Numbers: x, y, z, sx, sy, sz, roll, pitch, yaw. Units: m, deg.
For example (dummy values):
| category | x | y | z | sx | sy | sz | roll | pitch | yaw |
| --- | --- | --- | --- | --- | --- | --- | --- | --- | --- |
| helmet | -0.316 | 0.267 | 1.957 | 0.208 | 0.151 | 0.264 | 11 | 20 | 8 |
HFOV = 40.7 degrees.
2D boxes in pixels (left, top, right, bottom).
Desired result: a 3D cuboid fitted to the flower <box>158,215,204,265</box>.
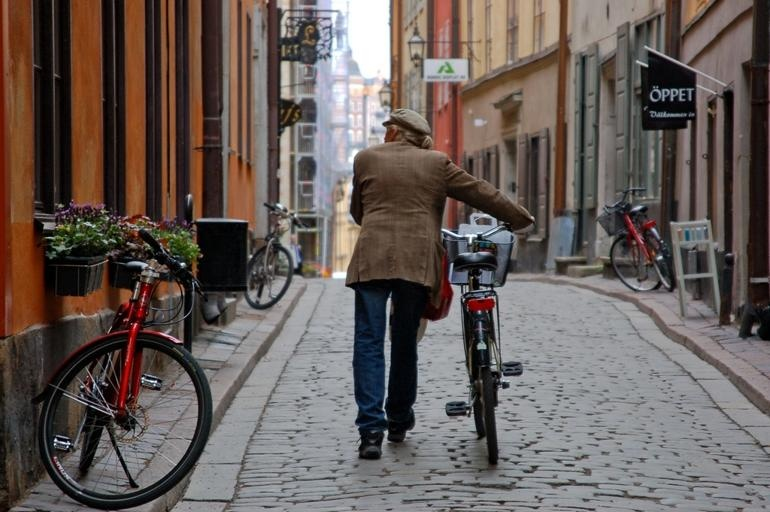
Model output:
| category | x | y | z | sx | sy | sz | roll | pitch | yaw |
| --- | --- | --- | --- | --- | --- | --- | --- | --- | --- |
| flower | -1.751 | -0.160 | 9.369 | 0.453 | 0.322 | 0.496 | -2 | 21 | 43 |

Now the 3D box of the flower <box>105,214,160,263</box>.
| category | x | y | z | sx | sy | sz | roll | pitch | yaw |
| --- | --- | --- | --- | --- | --- | --- | --- | --- | --- |
| flower | -1.996 | -0.149 | 8.062 | 0.434 | 0.308 | 0.389 | 0 | 2 | -33 |

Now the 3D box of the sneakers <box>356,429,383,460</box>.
| category | x | y | z | sx | sy | sz | roll | pitch | yaw |
| --- | --- | --- | --- | --- | --- | --- | --- | --- | --- |
| sneakers | -0.113 | 1.347 | 7.513 | 0.179 | 0.217 | 0.199 | -1 | 6 | 1 |

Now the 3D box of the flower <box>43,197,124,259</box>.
| category | x | y | z | sx | sy | sz | roll | pitch | yaw |
| --- | --- | --- | --- | --- | --- | --- | --- | --- | --- |
| flower | -2.181 | -0.173 | 7.465 | 0.353 | 0.317 | 0.469 | 1 | 3 | -2 |

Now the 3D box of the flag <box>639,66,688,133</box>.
| category | x | y | z | sx | sy | sz | roll | pitch | yaw |
| --- | --- | --- | --- | --- | --- | --- | --- | --- | --- |
| flag | 4.095 | -2.360 | 14.927 | 0.778 | 1.078 | 0.751 | 5 | 11 | 25 |

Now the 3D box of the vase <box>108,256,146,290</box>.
| category | x | y | z | sx | sy | sz | roll | pitch | yaw |
| --- | --- | --- | --- | --- | --- | --- | --- | --- | --- |
| vase | -1.998 | 0.093 | 7.987 | 0.169 | 0.222 | 0.230 | 7 | 26 | -15 |

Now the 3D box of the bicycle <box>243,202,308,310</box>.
| category | x | y | z | sx | sy | sz | roll | pitch | yaw |
| --- | --- | --- | --- | --- | --- | --- | --- | --- | --- |
| bicycle | -1.651 | 0.047 | 14.741 | 0.839 | 1.271 | 1.985 | 19 | -5 | -17 |

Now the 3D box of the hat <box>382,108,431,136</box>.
| category | x | y | z | sx | sy | sz | roll | pitch | yaw |
| --- | --- | --- | --- | --- | --- | --- | --- | --- | --- |
| hat | 0.177 | -1.032 | 7.773 | 0.263 | 0.133 | 0.202 | 7 | 0 | 12 |

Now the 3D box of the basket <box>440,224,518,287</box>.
| category | x | y | z | sx | sy | sz | roll | pitch | yaw |
| --- | --- | --- | --- | --- | --- | --- | --- | --- | --- |
| basket | 0.772 | -0.004 | 7.988 | 0.495 | 0.498 | 0.422 | 12 | -20 | -10 |
